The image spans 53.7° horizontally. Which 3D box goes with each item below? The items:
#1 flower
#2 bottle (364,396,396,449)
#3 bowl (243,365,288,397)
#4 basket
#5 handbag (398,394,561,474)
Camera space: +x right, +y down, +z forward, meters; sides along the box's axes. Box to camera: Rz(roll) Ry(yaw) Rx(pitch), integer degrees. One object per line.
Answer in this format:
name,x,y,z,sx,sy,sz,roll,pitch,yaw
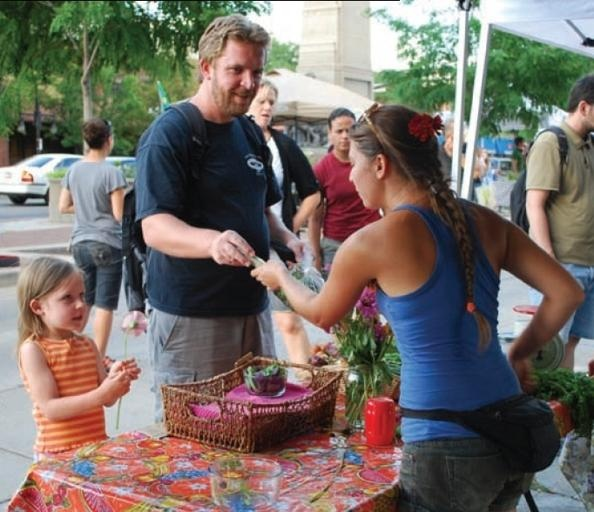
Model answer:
flower,0.245,0.288,2.156,0.205,0.240,0.331,1,37,3
bottle,0.278,0.549,1.941,0.139,0.195,0.132,0,-5,0
bowl,-0.105,0.451,2.068,0.161,0.086,0.164,-2,-10,0
basket,-0.095,0.444,1.995,0.324,0.155,0.440,0,-1,40
handbag,0.534,0.457,1.578,0.299,0.127,0.236,-3,-3,11
